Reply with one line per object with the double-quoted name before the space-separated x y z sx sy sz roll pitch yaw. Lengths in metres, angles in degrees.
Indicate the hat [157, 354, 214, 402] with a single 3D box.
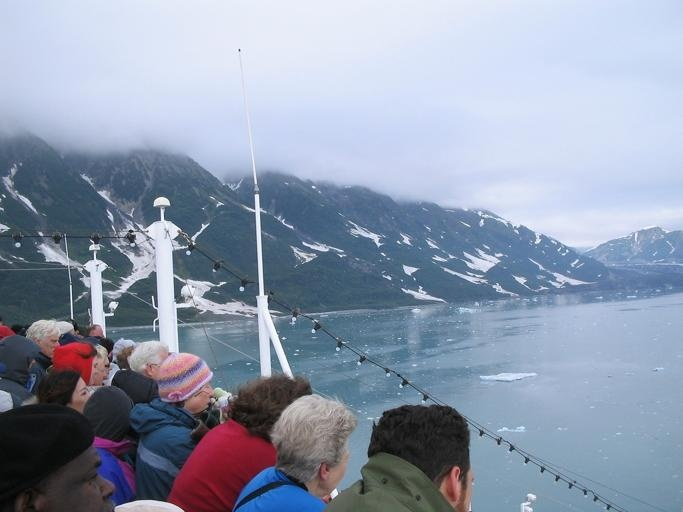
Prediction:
"hat" -1.514 1.137 5.914 0.573 0.455 0.549 -6 7 -17
